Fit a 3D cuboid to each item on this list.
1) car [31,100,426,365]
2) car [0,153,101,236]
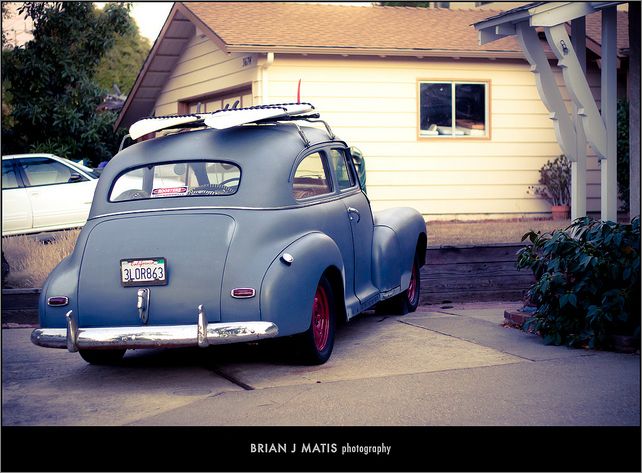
[{"bbox_3d":[-0.564,-0.054,5.502,2.194,1.876,3.763,0,7,27],"label":"car"},{"bbox_3d":[-5.028,-0.722,9.283,2.248,1.136,1.195,-9,9,-18],"label":"car"}]
